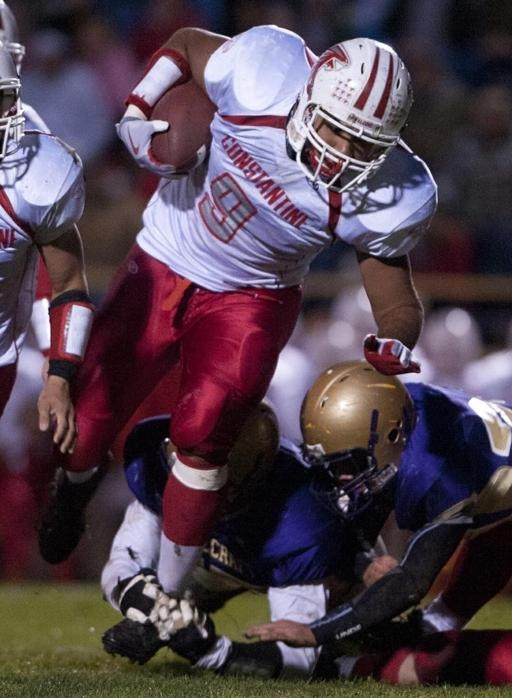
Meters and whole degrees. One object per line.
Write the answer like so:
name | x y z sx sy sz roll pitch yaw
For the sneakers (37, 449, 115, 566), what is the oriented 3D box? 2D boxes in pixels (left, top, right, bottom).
sneakers | -0.589 0.493 2.402 0.141 0.417 0.177 34 35 15

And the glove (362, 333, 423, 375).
glove | 0.290 0.016 1.697 0.132 0.064 0.049 10 -1 9

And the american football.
american football | -0.209 -0.507 1.917 0.186 0.229 0.077 -13 76 -6

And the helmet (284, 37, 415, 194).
helmet | 0.202 -0.506 1.724 0.251 0.320 0.223 18 25 3

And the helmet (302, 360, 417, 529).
helmet | 0.239 0.222 1.967 0.286 0.345 0.209 28 28 24

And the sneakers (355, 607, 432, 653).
sneakers | 0.338 0.675 1.962 0.171 0.094 0.063 -18 60 -7

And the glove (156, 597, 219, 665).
glove | -0.154 0.628 1.781 0.146 0.138 0.104 13 25 -7
